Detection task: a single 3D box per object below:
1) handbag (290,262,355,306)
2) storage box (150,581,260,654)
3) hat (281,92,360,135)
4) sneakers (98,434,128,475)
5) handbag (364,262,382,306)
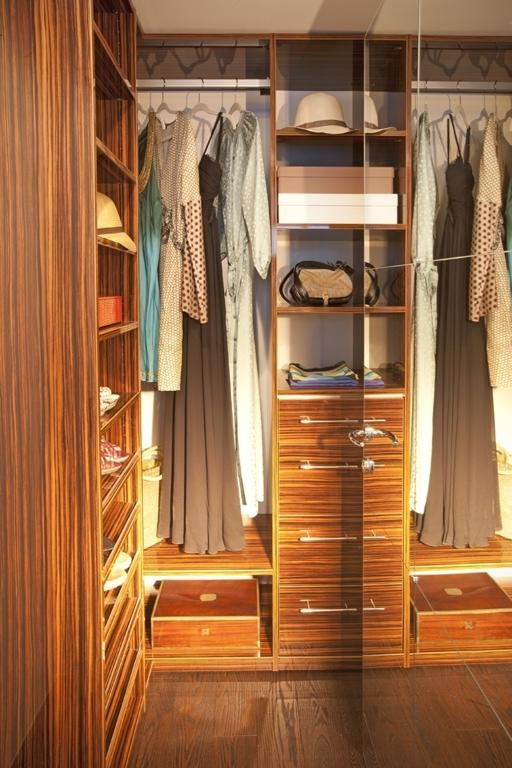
[{"bbox_3d":[0.244,-0.357,2.123,0.153,0.186,0.077,1,-5,-1],"label":"handbag"},{"bbox_3d":[-0.180,0.849,2.210,0.390,0.175,0.297,0,4,0],"label":"storage box"},{"bbox_3d":[0.215,-0.945,2.111,0.164,0.126,0.229,-2,14,-6],"label":"hat"},{"bbox_3d":[-0.375,0.179,1.560,0.076,0.050,0.118,3,7,26],"label":"sneakers"},{"bbox_3d":[0.329,-0.274,1.700,0.018,0.105,0.069,2,16,25],"label":"handbag"}]
